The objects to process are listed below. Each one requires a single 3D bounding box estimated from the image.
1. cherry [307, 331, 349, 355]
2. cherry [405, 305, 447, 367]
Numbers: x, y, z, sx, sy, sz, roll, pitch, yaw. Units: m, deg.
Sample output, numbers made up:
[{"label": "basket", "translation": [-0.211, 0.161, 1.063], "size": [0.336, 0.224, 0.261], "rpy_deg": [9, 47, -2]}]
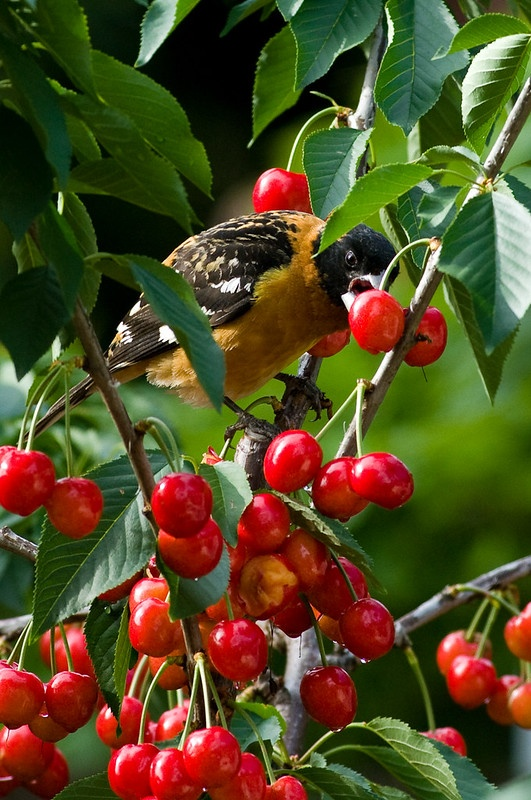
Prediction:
[{"label": "cherry", "translation": [0.171, -0.138, 2.340], "size": [0.087, 0.051, 0.067], "rpy_deg": [-37, -7, 14]}, {"label": "cherry", "translation": [0.293, -0.129, 1.712], "size": [0.109, 0.117, 0.106], "rpy_deg": [5, 5, 25]}]
